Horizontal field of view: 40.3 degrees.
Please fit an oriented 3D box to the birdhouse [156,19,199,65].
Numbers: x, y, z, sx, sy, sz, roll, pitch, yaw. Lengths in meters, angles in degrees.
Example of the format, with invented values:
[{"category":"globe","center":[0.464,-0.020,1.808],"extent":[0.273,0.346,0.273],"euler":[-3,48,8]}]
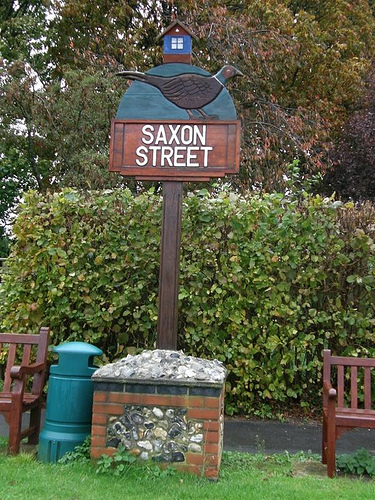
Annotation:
[{"category":"birdhouse","center":[-0.118,-1.943,4.780],"extent":[0.388,0.392,0.280],"euler":[-6,20,-14]}]
